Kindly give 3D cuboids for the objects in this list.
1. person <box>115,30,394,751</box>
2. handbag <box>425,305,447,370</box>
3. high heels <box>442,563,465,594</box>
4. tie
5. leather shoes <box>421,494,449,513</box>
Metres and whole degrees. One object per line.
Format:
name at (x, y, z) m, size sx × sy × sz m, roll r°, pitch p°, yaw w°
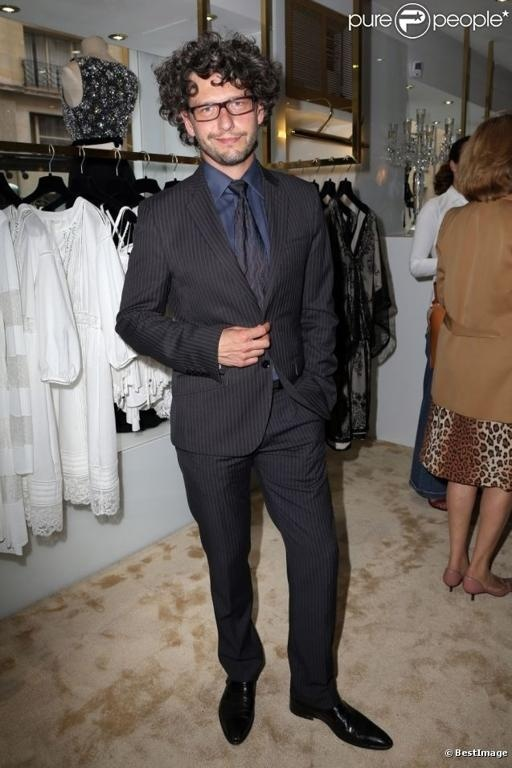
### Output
person at (-0.018, 0.053, 1.142) m, size 0.520 × 1.492 × 0.355 m, roll -1°, pitch 6°, yaw 2°
handbag at (0.756, -0.191, 2.170) m, size 0.059 × 0.263 × 0.056 m, roll 6°, pitch 18°, yaw 42°
high heels at (0.684, 0.678, 1.834) m, size 0.044 × 0.131 × 0.066 m, roll 2°, pitch -23°, yaw 25°
tie at (-0.008, -0.280, 1.053) m, size 0.078 × 0.248 × 0.067 m, roll 4°, pitch 10°, yaw 33°
leather shoes at (0.849, 0.582, 2.559) m, size 0.054 × 0.072 × 0.161 m, roll -4°, pitch -1°, yaw -28°
